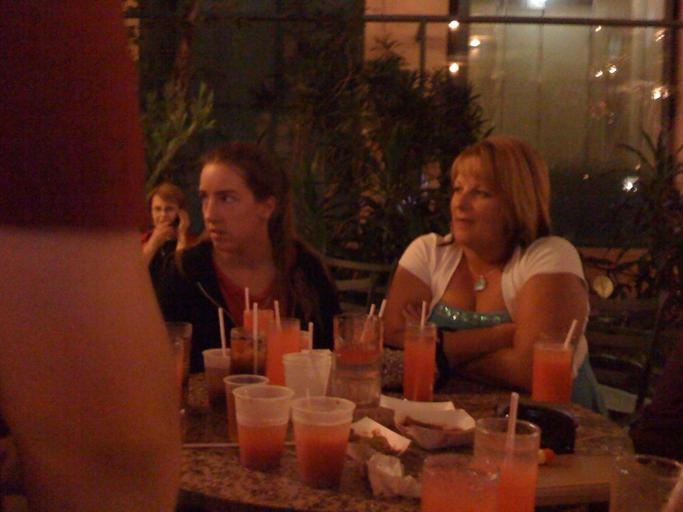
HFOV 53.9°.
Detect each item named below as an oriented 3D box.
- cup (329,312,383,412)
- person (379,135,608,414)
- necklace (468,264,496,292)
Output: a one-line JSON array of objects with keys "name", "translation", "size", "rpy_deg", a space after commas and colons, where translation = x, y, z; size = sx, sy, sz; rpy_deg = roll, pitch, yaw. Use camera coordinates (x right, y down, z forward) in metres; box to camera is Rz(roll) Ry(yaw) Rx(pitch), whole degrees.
[{"name": "cup", "translation": [0.053, 0.254, 1.570], "size": [0.154, 0.207, 0.147], "rpy_deg": [1, -9, 0]}, {"name": "person", "translation": [0.678, 0.136, 2.933], "size": [0.984, 1.225, 0.823], "rpy_deg": [6, 10, 43]}, {"name": "necklace", "translation": [0.589, 0.092, 2.811], "size": [0.104, 0.117, 0.039], "rpy_deg": [-5, -34, 22]}]
